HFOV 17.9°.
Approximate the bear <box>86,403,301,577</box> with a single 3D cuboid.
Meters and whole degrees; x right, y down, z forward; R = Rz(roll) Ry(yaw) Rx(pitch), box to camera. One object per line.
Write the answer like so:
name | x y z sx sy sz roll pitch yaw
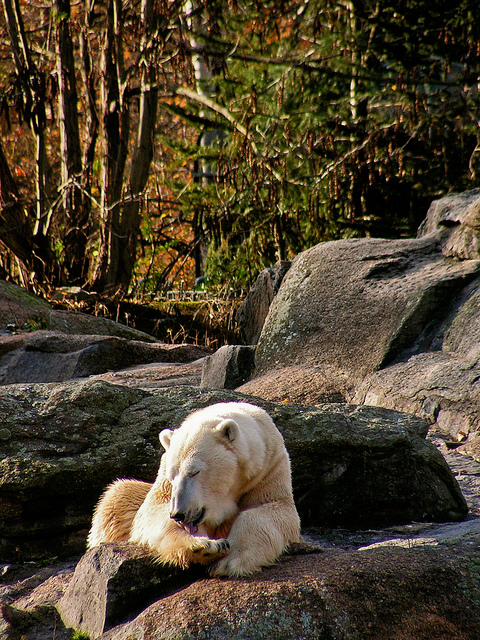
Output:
bear | -0.338 1.450 12.539 1.275 1.546 2.037 5 -4 -39
